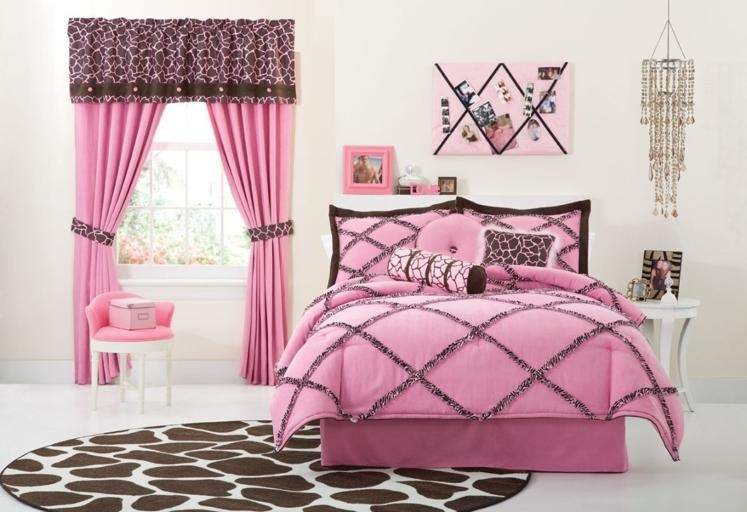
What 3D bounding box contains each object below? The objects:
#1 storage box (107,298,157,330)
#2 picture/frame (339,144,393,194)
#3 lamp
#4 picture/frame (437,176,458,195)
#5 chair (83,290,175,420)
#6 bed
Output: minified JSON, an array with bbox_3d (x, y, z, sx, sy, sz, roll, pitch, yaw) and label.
[{"bbox_3d":[-1.761,0.374,4.852,0.225,0.185,0.298,2,-2,-41],"label":"storage box"},{"bbox_3d":[-0.049,-0.723,5.540,0.424,0.418,0.033,0,-4,0],"label":"picture/frame"},{"bbox_3d":[2.321,-1.190,5.304,0.414,1.759,0.522,3,7,25],"label":"lamp"},{"bbox_3d":[0.599,-0.580,5.477,0.157,0.151,0.080,0,-5,-2],"label":"picture/frame"},{"bbox_3d":[-1.865,0.749,5.011,0.728,0.993,0.845,-2,-3,35],"label":"chair"},{"bbox_3d":[0.588,0.366,4.437,1.968,1.526,1.674,1,5,3],"label":"bed"}]
